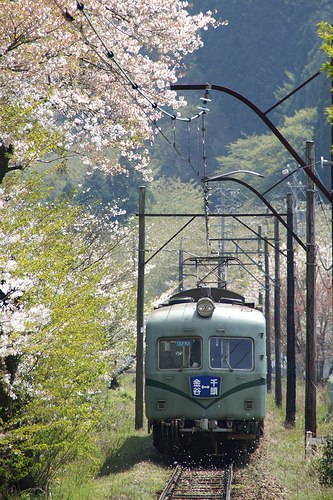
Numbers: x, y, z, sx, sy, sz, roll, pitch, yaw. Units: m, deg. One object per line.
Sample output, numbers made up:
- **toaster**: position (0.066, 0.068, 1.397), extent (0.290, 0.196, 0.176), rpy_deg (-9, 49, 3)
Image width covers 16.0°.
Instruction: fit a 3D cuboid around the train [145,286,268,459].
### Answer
- **train**: position (0.839, 2.634, 24.843), extent (2.495, 3.546, 2.067), rpy_deg (0, 6, 4)
